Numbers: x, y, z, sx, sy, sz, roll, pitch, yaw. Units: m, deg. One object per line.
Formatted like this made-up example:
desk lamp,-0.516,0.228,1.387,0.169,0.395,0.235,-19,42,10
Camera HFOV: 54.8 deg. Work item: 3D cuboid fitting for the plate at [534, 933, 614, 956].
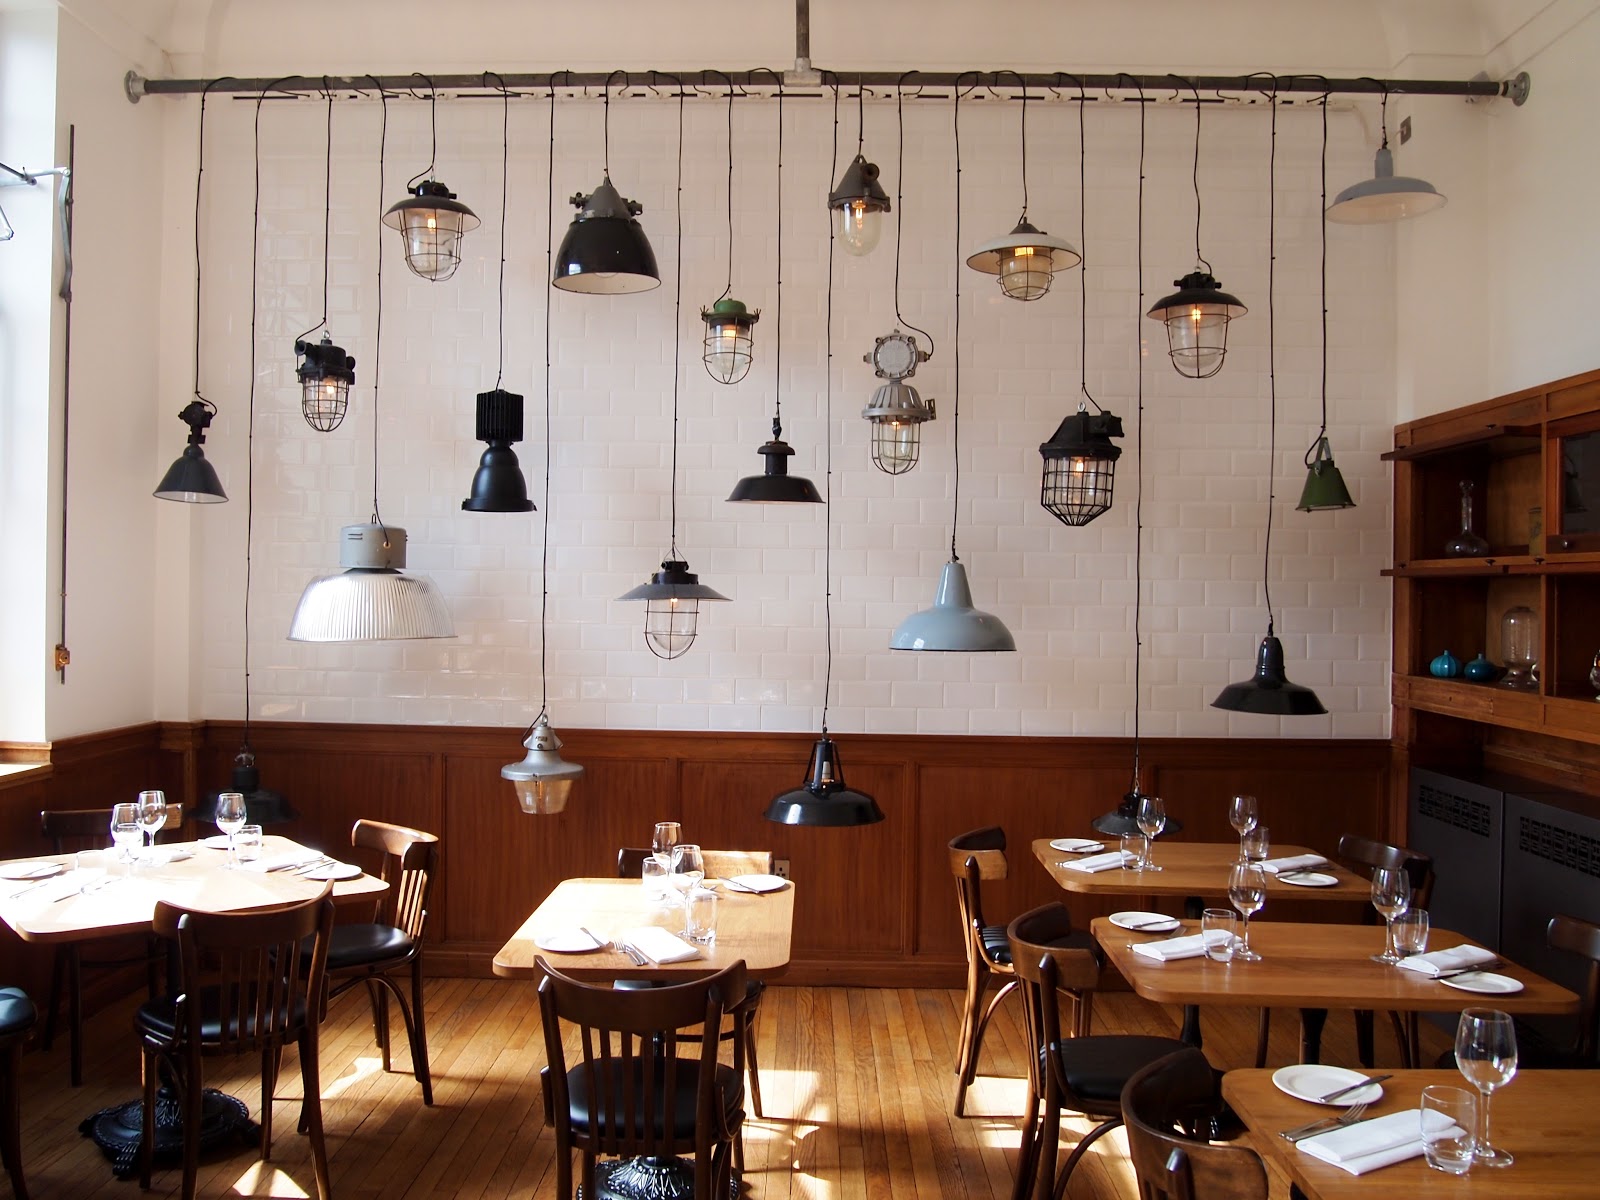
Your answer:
plate,-0.830,1.261,5.631,0.250,0.058,0.166,0,-2,-10

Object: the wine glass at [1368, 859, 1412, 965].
wine glass,2.196,1.157,5.689,0.112,0.333,0.305,-1,-2,24

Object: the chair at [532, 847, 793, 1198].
chair,-0.445,1.612,6.031,1.014,1.516,1.157,-1,-20,5

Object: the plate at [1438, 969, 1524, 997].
plate,2.409,1.353,5.407,0.263,0.052,0.204,1,-2,-24

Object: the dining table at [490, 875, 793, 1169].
dining table,-0.499,1.495,6.086,0.914,0.923,1.145,0,11,3

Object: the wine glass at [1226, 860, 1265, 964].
wine glass,1.668,1.152,5.723,0.111,0.348,0.305,-1,-2,16

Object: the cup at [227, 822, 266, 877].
cup,-2.323,1.056,6.448,0.147,0.192,0.153,0,-7,0
